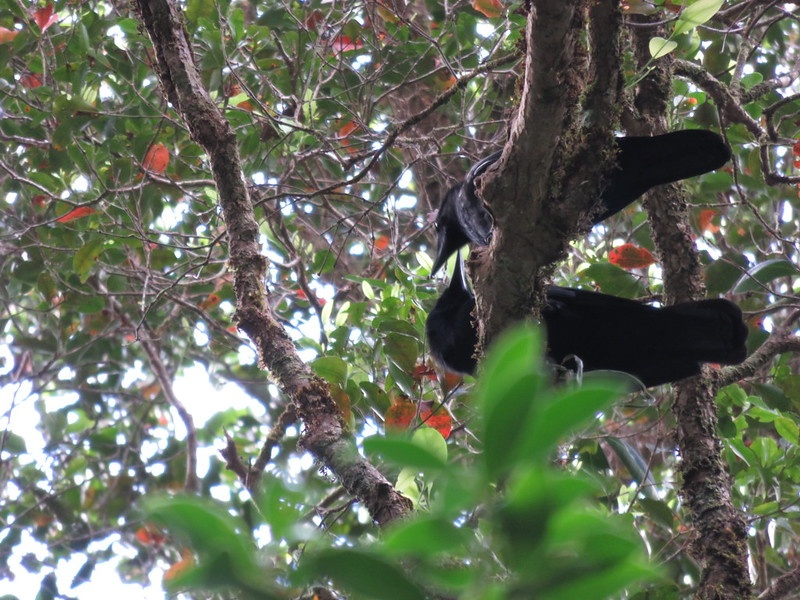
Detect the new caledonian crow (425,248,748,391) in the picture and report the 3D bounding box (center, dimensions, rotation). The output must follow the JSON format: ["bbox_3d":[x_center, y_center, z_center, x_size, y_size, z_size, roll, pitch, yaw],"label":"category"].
[{"bbox_3d":[0.952,0.117,5.570,0.845,0.533,0.275,-18,-47,17],"label":"new caledonian crow"}]
